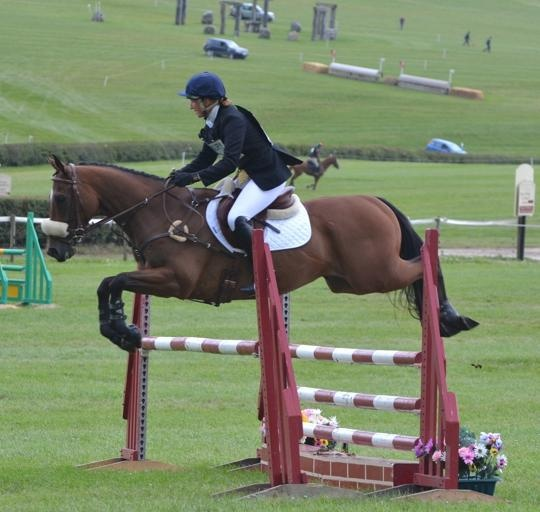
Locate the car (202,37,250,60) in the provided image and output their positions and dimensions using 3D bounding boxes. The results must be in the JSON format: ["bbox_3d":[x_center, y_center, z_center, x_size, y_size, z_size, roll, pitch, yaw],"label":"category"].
[{"bbox_3d":[-1.702,-7.546,61.964,1.773,0.753,0.702,-3,8,-30],"label":"car"}]

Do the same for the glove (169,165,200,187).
[{"bbox_3d":[-1.506,-1.336,29.070,0.548,0.336,0.271,1,7,-3],"label":"glove"}]

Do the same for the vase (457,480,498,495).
[{"bbox_3d":[3.485,3.855,28.317,0.468,0.170,0.315,2,-4,-1],"label":"vase"}]

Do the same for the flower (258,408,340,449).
[{"bbox_3d":[0.892,2.925,30.122,1.283,0.749,1.030,0,8,31],"label":"flower"}]

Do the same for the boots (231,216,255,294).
[{"bbox_3d":[-0.452,-0.003,29.015,0.357,1.227,0.344,-2,2,13],"label":"boots"}]

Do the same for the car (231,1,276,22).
[{"bbox_3d":[-0.764,-9.617,67.072,1.589,0.711,0.809,0,15,3],"label":"car"}]

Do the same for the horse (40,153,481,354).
[{"bbox_3d":[-0.143,0.042,29.744,7.778,3.399,1.544,-2,2,-12],"label":"horse"}]
